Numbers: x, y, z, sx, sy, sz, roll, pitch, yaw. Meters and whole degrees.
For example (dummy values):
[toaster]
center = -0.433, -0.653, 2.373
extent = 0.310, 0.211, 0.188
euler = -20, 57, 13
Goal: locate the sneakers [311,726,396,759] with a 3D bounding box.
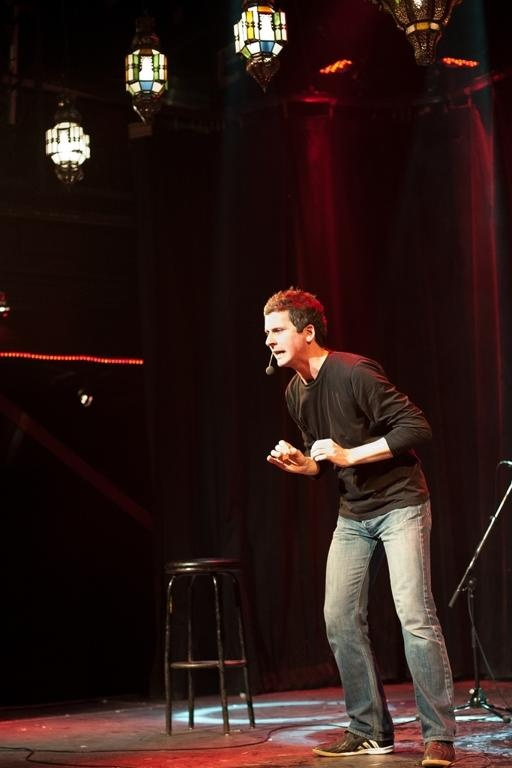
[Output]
[sneakers]
center = 0.296, 1.080, 2.411
extent = 0.262, 0.128, 0.099
euler = 0, -20, 6

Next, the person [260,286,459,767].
[person]
center = 0.292, 0.350, 2.381
extent = 0.456, 1.491, 0.606
euler = -6, -14, -17
